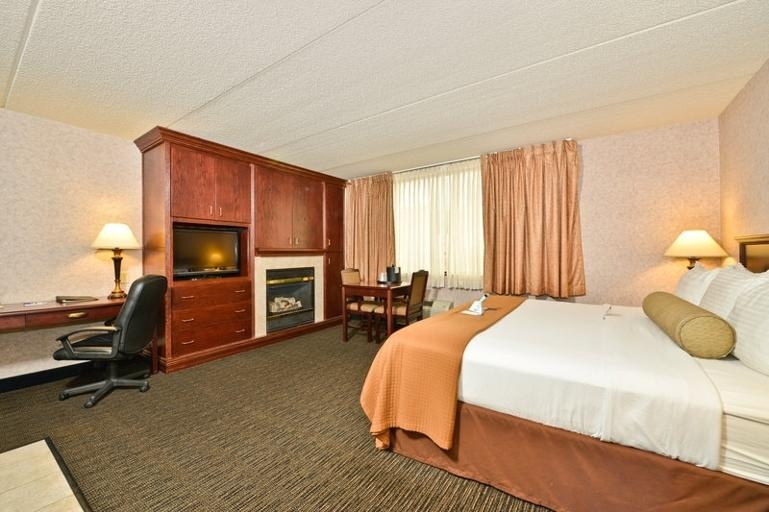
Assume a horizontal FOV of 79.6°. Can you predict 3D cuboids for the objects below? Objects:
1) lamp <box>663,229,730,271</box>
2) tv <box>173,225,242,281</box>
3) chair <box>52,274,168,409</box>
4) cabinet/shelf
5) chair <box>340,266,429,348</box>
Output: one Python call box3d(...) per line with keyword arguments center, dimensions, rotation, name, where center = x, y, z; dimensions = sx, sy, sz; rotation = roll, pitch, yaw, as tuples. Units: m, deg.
box3d(center=(3.624, -0.059, 5.498), dimensions=(0.621, 0.493, 0.566), rotation=(-4, -1, 19), name="lamp")
box3d(center=(-2.237, -0.065, 5.956), dimensions=(0.107, 0.684, 0.914), rotation=(0, 1, 36), name="tv")
box3d(center=(-2.933, 0.871, 5.067), dimensions=(1.040, 1.336, 0.752), rotation=(-1, 1, -21), name="chair")
box3d(center=(-1.838, -0.082, 6.761), dimensions=(0.881, 2.852, 3.125), rotation=(0, 1, 40), name="cabinet/shelf")
box3d(center=(0.029, 0.796, 6.761), dimensions=(1.429, 0.908, 0.937), rotation=(0, 0, 32), name="chair")
